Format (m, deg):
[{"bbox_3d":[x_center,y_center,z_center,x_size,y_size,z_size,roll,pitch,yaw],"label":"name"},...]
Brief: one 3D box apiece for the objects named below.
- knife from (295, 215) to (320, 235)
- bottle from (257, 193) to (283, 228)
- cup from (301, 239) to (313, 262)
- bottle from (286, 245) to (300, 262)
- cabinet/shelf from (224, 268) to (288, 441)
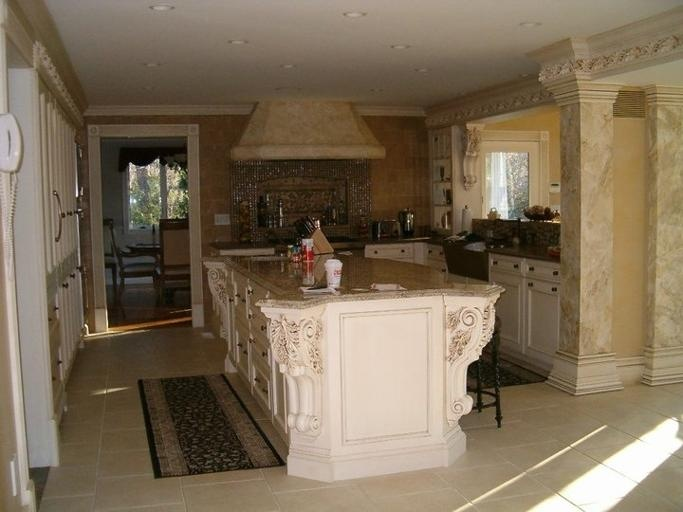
[{"bbox_3d":[-0.410,-0.360,6.240,0.178,0.185,0.324,-30,7,-20],"label":"knife"},{"bbox_3d":[-1.027,-0.662,7.728,0.494,0.444,0.111,1,-8,-40],"label":"bottle"},{"bbox_3d":[-0.295,-0.056,4.747,0.081,0.191,0.180,-2,7,-9],"label":"cup"},{"bbox_3d":[-0.414,-0.022,5.122,0.184,0.171,0.121,-2,5,-23],"label":"bottle"},{"bbox_3d":[-0.663,0.798,4.232,0.234,0.692,1.199,-1,8,-14],"label":"cabinet/shelf"}]
